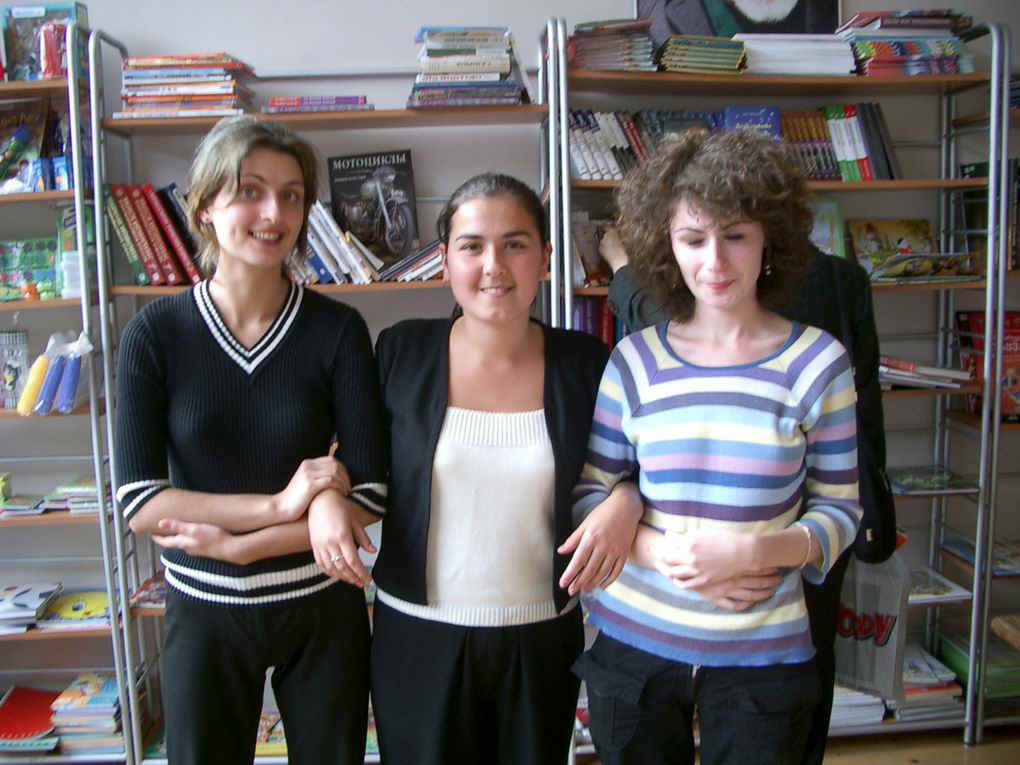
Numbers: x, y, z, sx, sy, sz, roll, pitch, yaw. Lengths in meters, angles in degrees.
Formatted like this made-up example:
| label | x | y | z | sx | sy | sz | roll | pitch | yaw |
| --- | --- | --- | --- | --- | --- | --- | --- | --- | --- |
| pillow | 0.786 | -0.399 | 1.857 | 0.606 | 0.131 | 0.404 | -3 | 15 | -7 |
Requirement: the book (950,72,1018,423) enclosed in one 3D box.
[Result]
| label | x | y | z | sx | sy | sz | roll | pitch | yaw |
| --- | --- | --- | --- | --- | --- | --- | --- | --- | --- |
| book | 1.777 | -0.502 | 3.287 | 0.219 | 1.281 | 0.483 | -1 | 6 | 27 |

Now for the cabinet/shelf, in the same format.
| label | x | y | z | sx | sy | sz | roll | pitch | yaw |
| --- | --- | --- | --- | --- | --- | --- | --- | --- | --- |
| cabinet/shelf | -0.066 | -0.030 | 2.612 | 2.675 | 2.577 | 0.813 | -1 | 2 | -2 |

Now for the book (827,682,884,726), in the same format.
| label | x | y | z | sx | sy | sz | roll | pitch | yaw |
| --- | --- | --- | --- | --- | --- | --- | --- | --- | --- |
| book | 1.317 | 1.241 | 3.345 | 0.213 | 0.080 | 0.207 | -1 | 1 | -5 |

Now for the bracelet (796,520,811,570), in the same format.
| label | x | y | z | sx | sy | sz | roll | pitch | yaw |
| --- | --- | --- | --- | --- | --- | --- | --- | --- | --- |
| bracelet | 0.666 | 0.372 | 1.972 | 0.021 | 0.071 | 0.074 | -4 | 0 | 0 |
